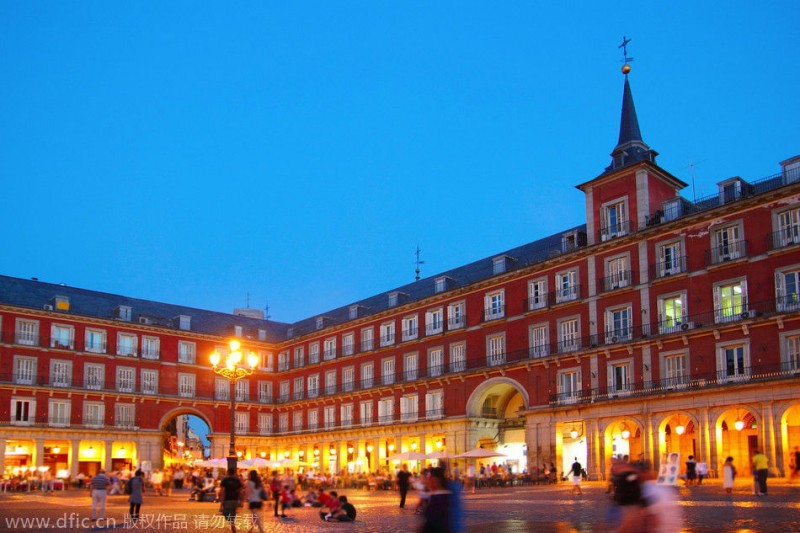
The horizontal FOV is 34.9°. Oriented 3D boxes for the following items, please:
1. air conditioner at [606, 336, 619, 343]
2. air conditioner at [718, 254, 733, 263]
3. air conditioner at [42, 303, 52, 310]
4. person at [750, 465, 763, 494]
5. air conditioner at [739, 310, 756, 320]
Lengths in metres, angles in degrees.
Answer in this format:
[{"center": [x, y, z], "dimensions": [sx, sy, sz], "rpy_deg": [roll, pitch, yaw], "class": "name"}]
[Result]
[{"center": [13.278, 4.405, 79.596], "dimensions": [0.459, 0.430, 1.134], "rpy_deg": [-5, 1, -26], "class": "air conditioner"}, {"center": [19.320, -0.597, 75.775], "dimensions": [0.343, 0.343, 0.835], "rpy_deg": [-6, 1, -30], "class": "air conditioner"}, {"center": [-26.186, 2.911, 94.775], "dimensions": [0.366, 0.622, 0.695], "rpy_deg": [-5, -8, 41], "class": "air conditioner"}, {"center": [18.581, 10.855, 65.778], "dimensions": [0.618, 1.274, 1.400], "rpy_deg": [-5, 1, 17], "class": "person"}, {"center": [20.355, 2.681, 74.364], "dimensions": [0.938, 0.485, 0.456], "rpy_deg": [-5, 1, 27], "class": "air conditioner"}]
